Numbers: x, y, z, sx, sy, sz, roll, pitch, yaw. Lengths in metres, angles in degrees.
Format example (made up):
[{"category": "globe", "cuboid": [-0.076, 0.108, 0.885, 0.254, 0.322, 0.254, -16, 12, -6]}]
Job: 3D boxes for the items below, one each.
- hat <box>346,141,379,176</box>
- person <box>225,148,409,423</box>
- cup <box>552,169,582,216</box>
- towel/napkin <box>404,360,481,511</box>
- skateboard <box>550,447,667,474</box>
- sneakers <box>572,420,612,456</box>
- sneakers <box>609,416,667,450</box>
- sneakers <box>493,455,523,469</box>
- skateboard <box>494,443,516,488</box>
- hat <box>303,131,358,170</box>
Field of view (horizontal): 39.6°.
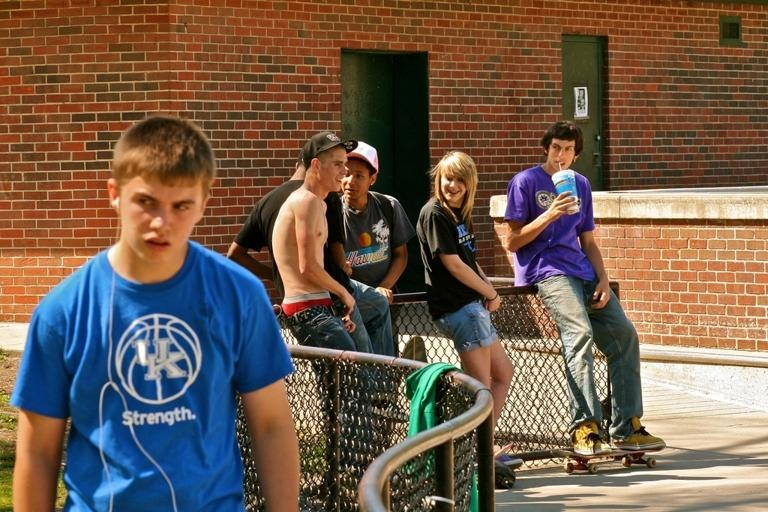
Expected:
[{"category": "hat", "cuboid": [-0.153, -0.841, 9.102, 0.225, 0.189, 0.341, 12, -5, 17]}, {"category": "person", "cuboid": [-0.508, 0.229, 8.830, 1.090, 2.492, 1.009, -14, 19, -31]}, {"category": "cup", "cuboid": [1.578, -0.555, 9.118, 0.205, 0.317, 0.211, -8, -4, -1]}, {"category": "towel/napkin", "cuboid": [0.341, 1.136, 6.732, 0.525, 0.921, 0.346, -1, 3, 20]}, {"category": "skateboard", "cuboid": [1.887, 1.756, 9.249, 0.893, 0.164, 0.325, 2, -2, -29]}, {"category": "sneakers", "cuboid": [1.785, 1.521, 9.189, 0.236, 0.250, 0.546, -2, 4, -7]}, {"category": "sneakers", "cuboid": [2.235, 1.569, 9.313, 0.178, 0.241, 0.521, 11, -15, -28]}, {"category": "sneakers", "cuboid": [1.066, 1.739, 9.165, 0.265, 0.108, 0.269, 3, 0, 9]}, {"category": "skateboard", "cuboid": [1.010, 1.720, 8.878, 0.155, 0.351, 0.569, -2, 2, 7]}, {"category": "hat", "cuboid": [-0.439, -0.874, 8.511, 0.422, 0.217, 0.277, -26, -19, 31]}]
